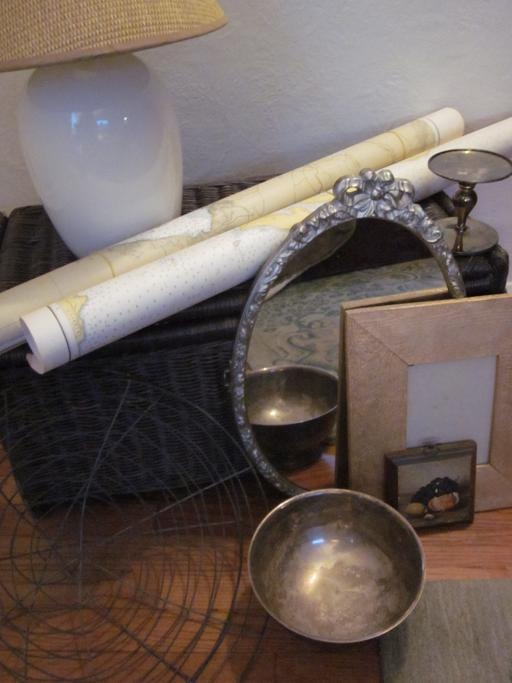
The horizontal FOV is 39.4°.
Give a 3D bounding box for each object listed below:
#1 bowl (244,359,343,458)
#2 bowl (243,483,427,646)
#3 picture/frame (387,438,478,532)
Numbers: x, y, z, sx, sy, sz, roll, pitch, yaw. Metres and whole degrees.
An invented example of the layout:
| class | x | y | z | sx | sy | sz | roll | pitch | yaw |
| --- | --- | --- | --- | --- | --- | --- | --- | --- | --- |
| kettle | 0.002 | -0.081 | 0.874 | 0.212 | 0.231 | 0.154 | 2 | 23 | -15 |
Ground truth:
| class | x | y | z | sx | sy | sz | roll | pitch | yaw |
| --- | --- | --- | --- | --- | --- | --- | --- | --- | --- |
| bowl | 0.048 | 0.085 | 0.959 | 0.131 | 0.072 | 0.118 | -13 | 33 | -16 |
| bowl | 0.091 | 0.247 | 0.808 | 0.173 | 0.119 | 0.126 | 0 | 25 | 6 |
| picture/frame | 0.210 | 0.170 | 0.868 | 0.150 | 0.127 | 0.019 | -6 | 39 | -2 |
